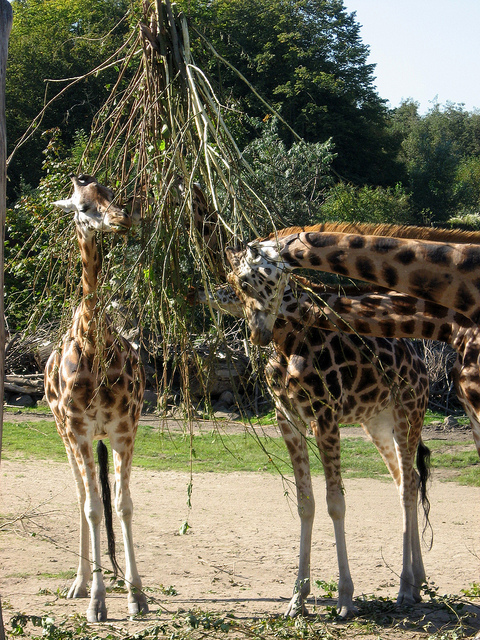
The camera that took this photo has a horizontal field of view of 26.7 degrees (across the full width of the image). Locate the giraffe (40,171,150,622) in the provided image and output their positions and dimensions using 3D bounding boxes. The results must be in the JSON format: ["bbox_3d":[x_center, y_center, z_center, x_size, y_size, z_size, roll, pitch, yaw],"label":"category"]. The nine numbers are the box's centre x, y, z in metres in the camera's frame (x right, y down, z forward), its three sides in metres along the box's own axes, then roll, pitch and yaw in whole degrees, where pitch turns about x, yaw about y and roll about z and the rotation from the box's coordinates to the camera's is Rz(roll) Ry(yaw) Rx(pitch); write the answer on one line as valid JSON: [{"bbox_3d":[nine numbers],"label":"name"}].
[{"bbox_3d":[-0.877,0.482,6.344,0.717,2.708,1.776,3,-2,-10],"label":"giraffe"}]
